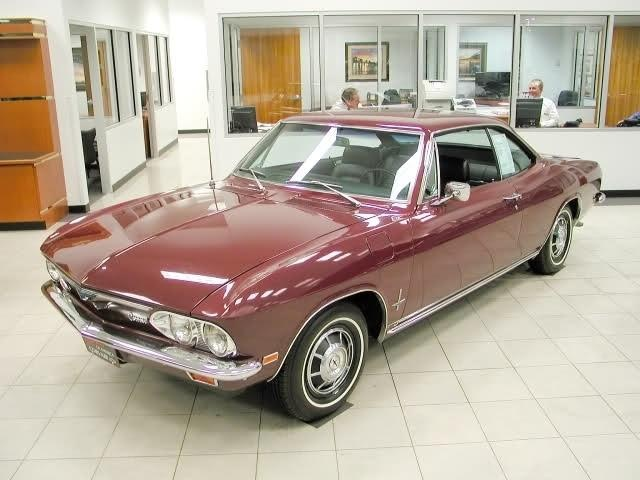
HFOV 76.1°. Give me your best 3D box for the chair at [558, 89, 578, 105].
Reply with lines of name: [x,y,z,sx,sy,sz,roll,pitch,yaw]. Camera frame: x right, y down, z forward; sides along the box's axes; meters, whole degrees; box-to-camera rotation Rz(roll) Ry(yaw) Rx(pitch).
chair: [4.474,-2.553,7.363,0.238,0.306,0.304,17,40,22]

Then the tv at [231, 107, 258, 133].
tv: [-1.299,-2.076,7.042,0.501,0.399,0.111,5,12,-1]

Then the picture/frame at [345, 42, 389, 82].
picture/frame: [0.787,-3.067,6.960,0.722,0.533,0.028,-1,10,-5]

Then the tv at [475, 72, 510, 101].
tv: [3.069,-2.758,7.263,0.452,0.561,0.078,-8,19,-6]

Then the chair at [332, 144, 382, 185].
chair: [0.305,-0.579,3.286,0.388,0.349,0.334,10,15,24]

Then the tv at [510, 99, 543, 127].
tv: [3.741,-2.282,7.308,0.581,0.465,0.142,15,11,4]

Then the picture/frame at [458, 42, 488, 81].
picture/frame: [2.699,-3.154,7.132,0.686,0.708,0.049,-1,27,5]
